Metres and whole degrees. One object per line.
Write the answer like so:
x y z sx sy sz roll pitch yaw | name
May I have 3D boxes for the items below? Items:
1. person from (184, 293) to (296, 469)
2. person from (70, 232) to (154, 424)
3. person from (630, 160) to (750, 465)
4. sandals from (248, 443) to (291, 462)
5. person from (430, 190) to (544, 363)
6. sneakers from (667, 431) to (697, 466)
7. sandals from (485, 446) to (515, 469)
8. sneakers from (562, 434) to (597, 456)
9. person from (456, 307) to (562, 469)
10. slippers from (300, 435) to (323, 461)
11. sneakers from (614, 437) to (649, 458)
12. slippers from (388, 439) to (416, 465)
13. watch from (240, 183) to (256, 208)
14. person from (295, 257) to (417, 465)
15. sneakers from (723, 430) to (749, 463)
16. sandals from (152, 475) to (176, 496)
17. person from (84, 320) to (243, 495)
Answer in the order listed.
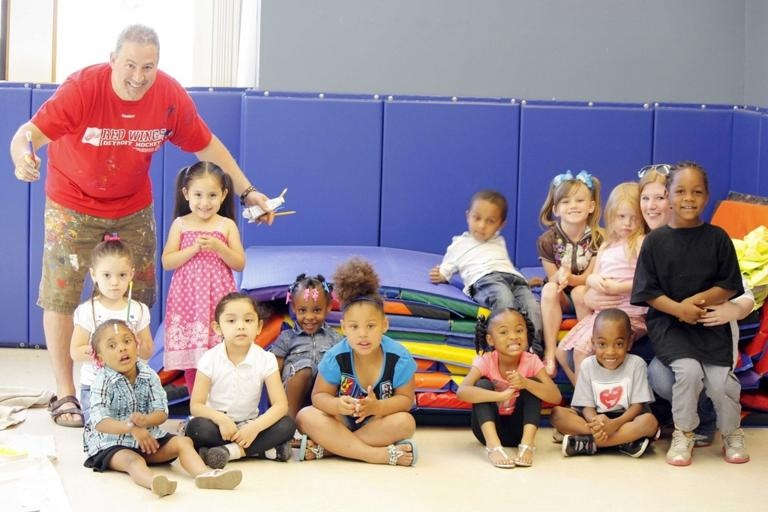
-0.648 0.570 3.173 0.548 0.733 0.631 4 2 -5 | person
-1.349 0.485 3.408 0.414 1.045 0.394 -1 8 -26 | person
1.563 0.199 3.512 0.748 1.297 0.690 -4 20 17 | person
-0.544 0.917 3.223 0.222 0.088 0.072 3 1 -4 | sandals
0.603 0.110 3.733 0.678 0.949 0.816 2 0 -16 | person
1.402 0.910 3.201 0.082 0.090 0.217 1 -1 15 | sneakers
0.555 0.933 3.182 0.065 0.053 0.140 0 -2 -20 | sandals
0.941 0.907 3.276 0.218 0.071 0.089 -1 10 -33 | sneakers
0.608 0.626 3.362 0.511 0.688 0.717 0 -2 5 | person
-0.342 0.913 3.211 0.111 0.103 0.039 17 0 -18 | slippers
1.215 0.921 3.291 0.077 0.069 0.177 45 -34 -21 | sneakers
0.088 0.916 3.178 0.147 0.077 0.055 0 8 10 | slippers
-0.751 -0.337 3.738 0.044 0.110 0.102 32 -14 -8 | watch
-0.123 0.497 3.267 0.565 0.896 0.429 1 12 -4 | person
1.691 0.906 3.254 0.081 0.082 0.191 -6 -2 4 | sneakers
-0.909 0.947 2.812 0.116 0.064 0.034 13 2 -26 | sandals
-1.034 0.665 3.001 0.474 0.625 0.857 -5 11 -42 | person
